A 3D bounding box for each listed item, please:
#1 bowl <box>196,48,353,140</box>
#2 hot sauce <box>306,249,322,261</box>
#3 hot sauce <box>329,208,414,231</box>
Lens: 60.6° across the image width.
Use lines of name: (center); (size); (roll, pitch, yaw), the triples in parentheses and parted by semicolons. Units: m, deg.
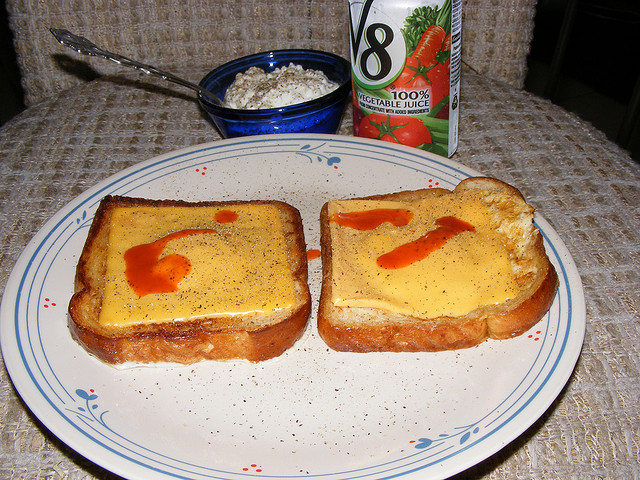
bowl: (-0.218, -0.755, 2.559); (0.712, 0.423, 0.587); (1, 45, -2)
hot sauce: (-0.027, 0.059, 2.174); (0.050, 0.018, 0.048); (-2, 46, -6)
hot sauce: (0.202, -0.114, 2.086); (0.297, 0.088, 0.203); (-3, 19, -5)
